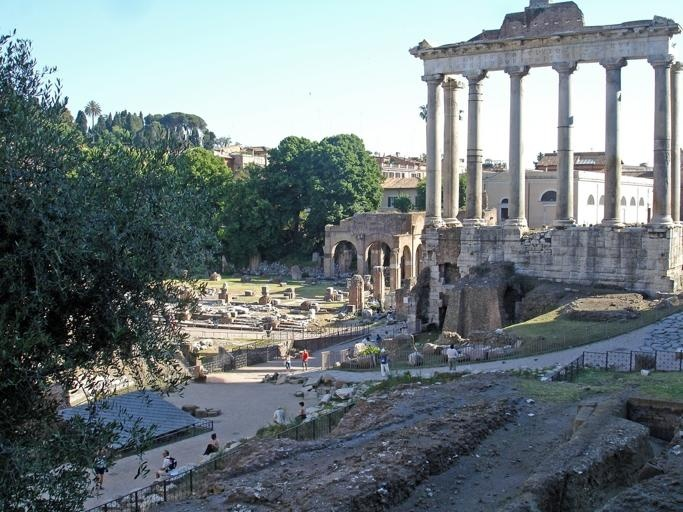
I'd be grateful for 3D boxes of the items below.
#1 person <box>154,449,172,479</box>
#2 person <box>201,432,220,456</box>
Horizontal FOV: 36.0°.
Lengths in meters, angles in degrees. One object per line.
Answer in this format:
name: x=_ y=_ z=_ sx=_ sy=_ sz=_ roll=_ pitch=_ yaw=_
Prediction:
person: x=-5.020 y=5.868 z=29.868 sx=0.484 sy=0.796 sz=2.079 roll=0 pitch=4 yaw=-10
person: x=-3.736 y=5.469 z=30.284 sx=0.441 sy=0.603 sz=1.098 roll=0 pitch=4 yaw=-7
